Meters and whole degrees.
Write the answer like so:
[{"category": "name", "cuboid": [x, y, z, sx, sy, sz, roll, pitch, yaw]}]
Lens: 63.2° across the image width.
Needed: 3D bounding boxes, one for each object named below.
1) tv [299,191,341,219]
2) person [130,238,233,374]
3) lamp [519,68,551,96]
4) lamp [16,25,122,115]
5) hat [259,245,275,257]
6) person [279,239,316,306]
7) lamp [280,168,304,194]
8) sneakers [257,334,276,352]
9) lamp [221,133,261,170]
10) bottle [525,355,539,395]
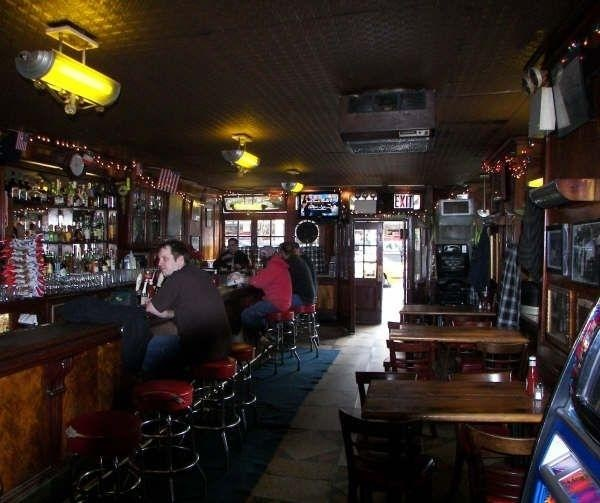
[{"category": "tv", "cuboid": [0.510, -1.070, 11.161, 0.691, 0.425, 0.090, 1, -2, 17]}, {"category": "person", "cuboid": [-0.980, 0.528, 4.232, 0.731, 1.244, 0.803, 0, 2, -18]}, {"category": "lamp", "cuboid": [1.796, -1.319, 3.724, 0.137, 0.196, 0.241, 1, 2, 4]}, {"category": "lamp", "cuboid": [-1.753, -1.354, 3.738, 0.314, 0.633, 0.741, 6, 4, 16]}, {"category": "hat", "cuboid": [-0.530, -0.027, 7.810, 0.204, 0.208, 0.049, -6, 24, 11]}, {"category": "person", "cuboid": [-0.100, 0.382, 8.144, 0.674, 1.058, 0.643, -5, 2, -8]}, {"category": "lamp", "cuboid": [-0.149, -1.420, 9.916, 0.282, 0.402, 0.310, 4, 7, 11]}, {"category": "sneakers", "cuboid": [-0.492, 1.366, 7.234, 0.300, 0.293, 0.180, 17, -29, -34]}, {"category": "lamp", "cuboid": [-0.796, -1.357, 6.636, 0.294, 0.459, 0.535, 6, 3, 18]}, {"category": "bottle", "cuboid": [1.533, 0.797, 3.204, 0.065, 0.289, 0.371, 2, 2, 26]}]
